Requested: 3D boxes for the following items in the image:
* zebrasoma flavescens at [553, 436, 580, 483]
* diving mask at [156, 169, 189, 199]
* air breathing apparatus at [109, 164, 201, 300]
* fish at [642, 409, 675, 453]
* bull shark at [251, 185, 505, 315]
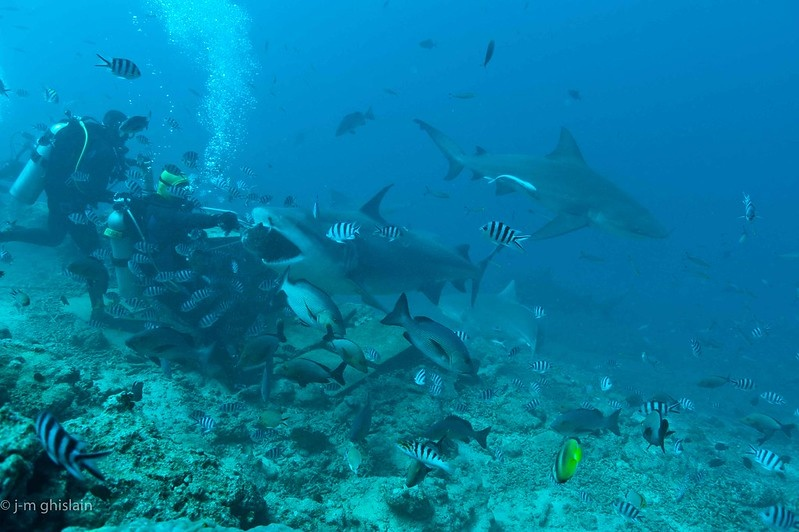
[{"bbox_3d":[4.512,5.259,16.969,0.693,1.311,0.462,-11,27,-42],"label":"zebrasoma flavescens"},{"bbox_3d":[-7.035,-2.494,19.404,0.924,0.926,0.707,4,25,-1],"label":"diving mask"},{"bbox_3d":[-7.914,-1.357,20.048,2.126,4.464,1.862,6,16,-9],"label":"air breathing apparatus"},{"bbox_3d":[7.294,4.594,17.863,0.368,1.001,0.702,-11,27,-42],"label":"fish"},{"bbox_3d":[-0.751,-0.844,20.430,8.455,3.918,3.097,12,1,-16],"label":"bull shark"}]
